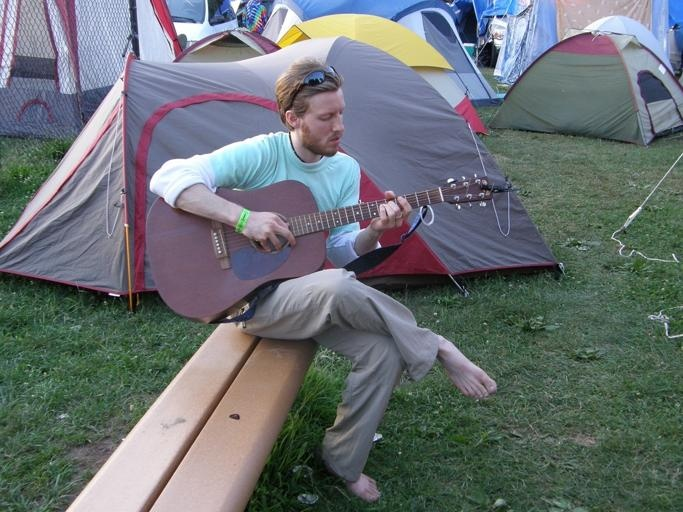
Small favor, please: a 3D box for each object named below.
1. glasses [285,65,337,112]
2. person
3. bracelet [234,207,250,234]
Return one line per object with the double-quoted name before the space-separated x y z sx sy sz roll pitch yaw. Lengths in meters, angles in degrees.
"glasses" -0.130 -0.792 2.372 0.175 0.063 0.198 -28 -13 -45
"person" -0.007 0.113 2.422 1.329 1.929 0.781 3 4 22
"bracelet" -0.443 -0.155 2.301 0.034 0.095 0.086 13 -15 -7
